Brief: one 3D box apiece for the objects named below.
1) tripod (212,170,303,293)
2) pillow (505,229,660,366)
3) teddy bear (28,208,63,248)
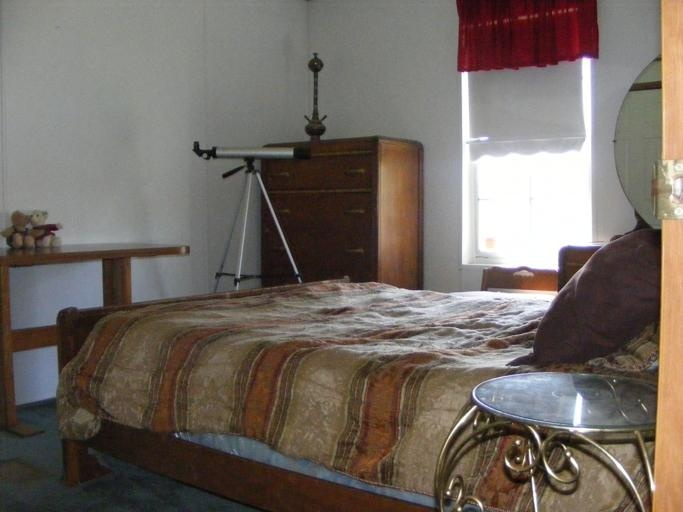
[{"bbox_3d":[-0.687,-0.188,4.798,0.528,1.066,0.437,-1,4,-25],"label":"tripod"},{"bbox_3d":[0.742,0.111,2.020,0.326,0.362,0.498,1,3,25],"label":"pillow"},{"bbox_3d":[-1.697,-0.142,3.640,0.213,0.219,0.141,-8,-3,-3],"label":"teddy bear"}]
